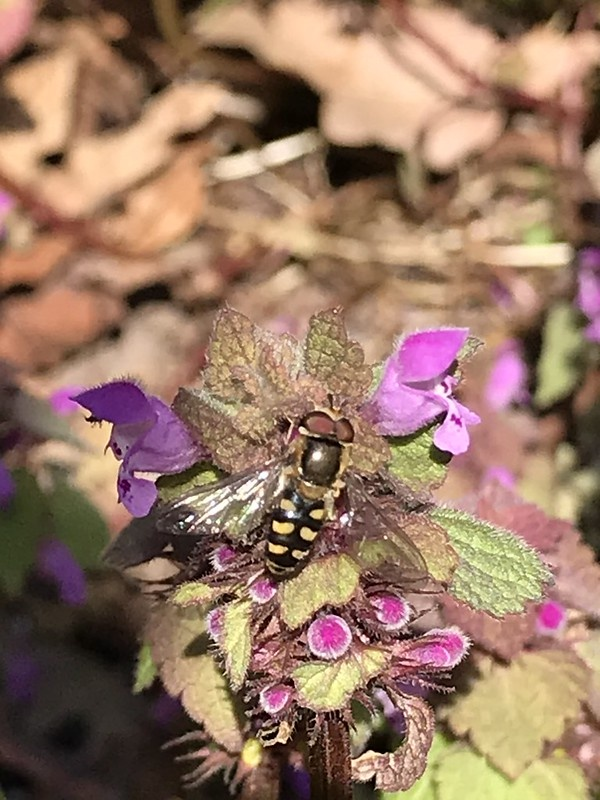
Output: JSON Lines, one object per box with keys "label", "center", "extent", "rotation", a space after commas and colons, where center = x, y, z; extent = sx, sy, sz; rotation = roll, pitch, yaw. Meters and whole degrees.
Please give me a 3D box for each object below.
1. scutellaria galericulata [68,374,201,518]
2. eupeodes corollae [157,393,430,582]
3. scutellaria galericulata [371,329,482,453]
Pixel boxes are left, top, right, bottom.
{"label": "scutellaria galericulata", "center": [-0.096, 0.025, 0.591], "extent": [0.072, 0.082, 0.080], "rotation": [-20, 37, -39]}
{"label": "eupeodes corollae", "center": [0.008, 0.060, 0.545], "extent": [0.177, 0.052, 0.109], "rotation": [2, 86, 22]}
{"label": "scutellaria galericulata", "center": [0.078, -0.006, 0.529], "extent": [0.064, 0.068, 0.065], "rotation": [18, 80, 5]}
